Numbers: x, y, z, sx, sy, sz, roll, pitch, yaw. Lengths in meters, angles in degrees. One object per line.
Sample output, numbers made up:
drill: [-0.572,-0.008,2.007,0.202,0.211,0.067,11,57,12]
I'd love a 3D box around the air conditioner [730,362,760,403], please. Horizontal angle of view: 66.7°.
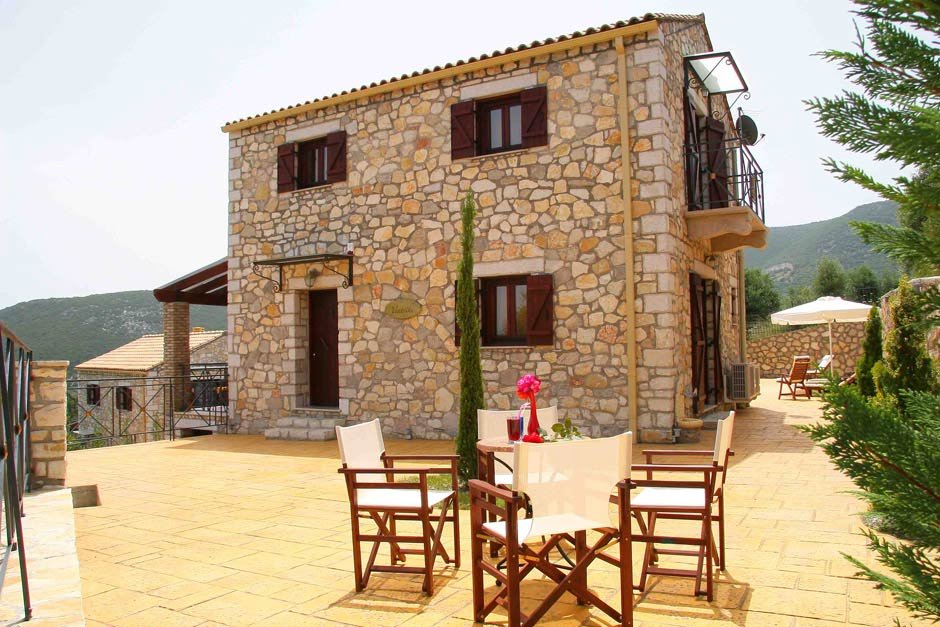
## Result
air conditioner: [5.991,1.377,14.908,1.205,0.714,0.397,5,-7,-34]

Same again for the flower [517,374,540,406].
flower: [0.557,0.703,6.761,0.176,0.255,0.312,-3,-5,9]

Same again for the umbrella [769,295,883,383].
umbrella: [8.144,0.604,16.589,2.569,1.774,2.582,-3,1,25]
